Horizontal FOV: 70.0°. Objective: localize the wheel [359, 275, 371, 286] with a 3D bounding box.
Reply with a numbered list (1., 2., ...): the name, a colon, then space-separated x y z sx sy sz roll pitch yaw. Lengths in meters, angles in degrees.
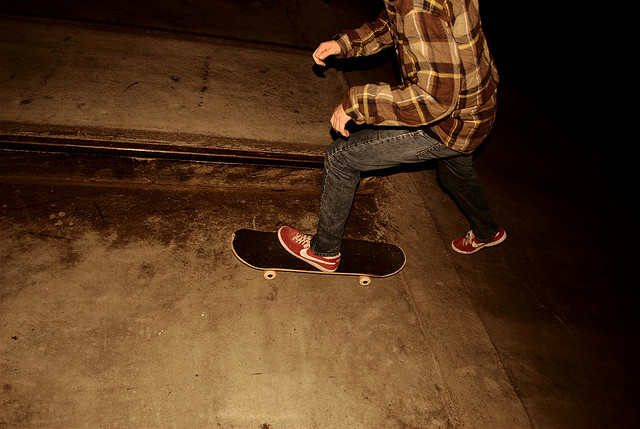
1. wheel: 0.406 0.604 4.165 0.095 0.088 0.081 1 79 -3
